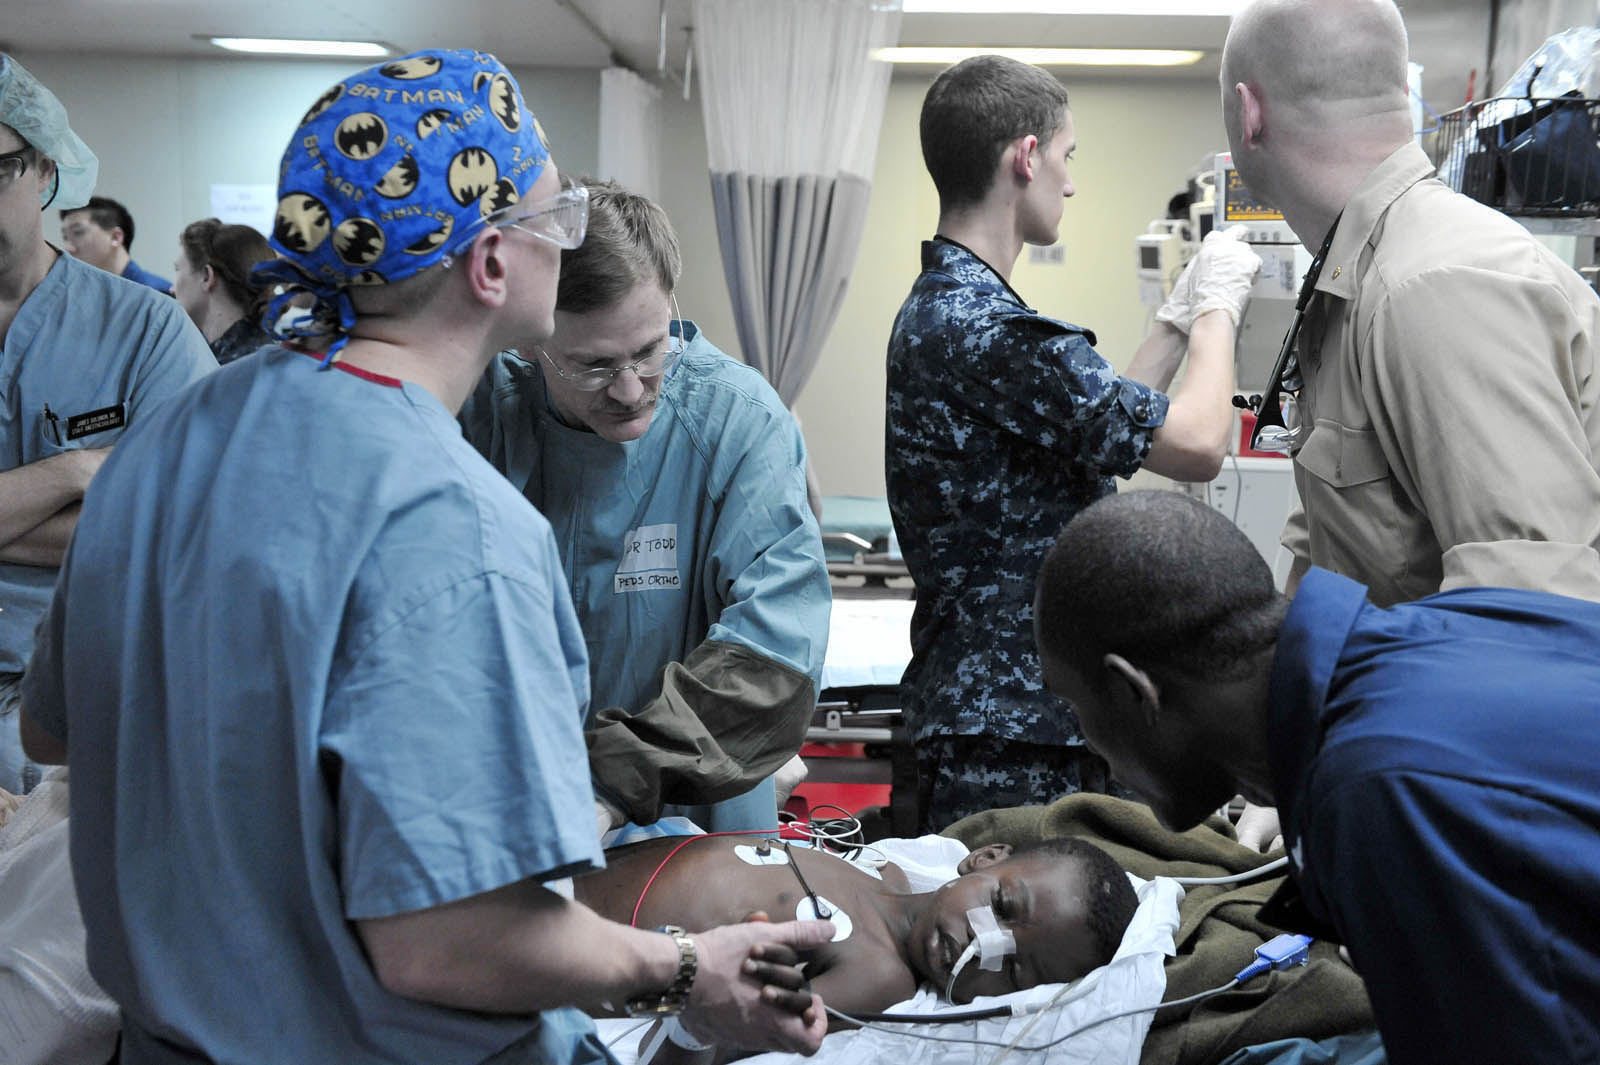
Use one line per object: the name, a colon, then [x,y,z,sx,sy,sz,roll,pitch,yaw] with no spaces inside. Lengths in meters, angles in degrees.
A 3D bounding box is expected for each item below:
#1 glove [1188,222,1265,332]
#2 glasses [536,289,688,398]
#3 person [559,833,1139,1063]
glove: [0.961,-0.588,3.057,0.146,0.235,0.090,3,-17,31]
glasses: [-0.319,-0.333,2.376,0.191,0.112,0.200,-18,-20,-18]
person: [0.105,0.692,2.537,0.910,0.277,0.498,2,19,-11]
